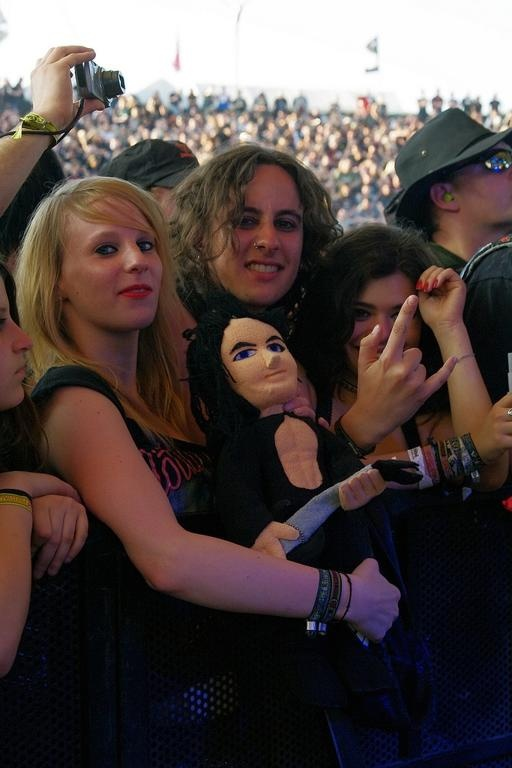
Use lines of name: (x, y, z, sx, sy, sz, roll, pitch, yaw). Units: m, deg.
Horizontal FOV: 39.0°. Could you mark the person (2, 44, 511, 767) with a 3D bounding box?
person: (-0.163, 0.182, 1.530, 0.560, 1.223, 0.618, -9, 13, -29)
